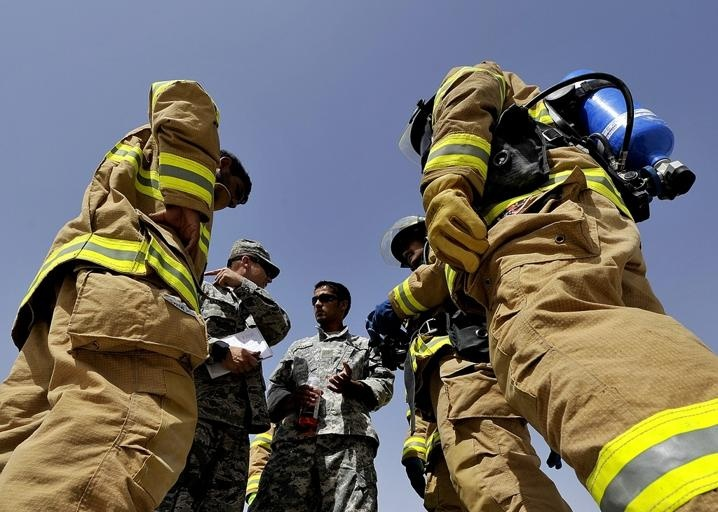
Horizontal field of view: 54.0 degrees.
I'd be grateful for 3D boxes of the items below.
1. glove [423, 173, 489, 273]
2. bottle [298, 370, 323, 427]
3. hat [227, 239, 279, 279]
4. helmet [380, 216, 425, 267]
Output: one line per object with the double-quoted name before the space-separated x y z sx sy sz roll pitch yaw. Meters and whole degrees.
"glove" 0.490 -0.174 3.697 0.214 0.479 0.380 -7 -49 -33
"bottle" -0.414 1.228 6.090 0.191 0.656 0.284 0 -43 -3
"hat" -0.958 0.040 6.094 0.350 0.221 0.246 8 -23 -13
"helmet" 0.367 -0.173 6.499 0.369 0.412 0.523 -10 -72 -6
